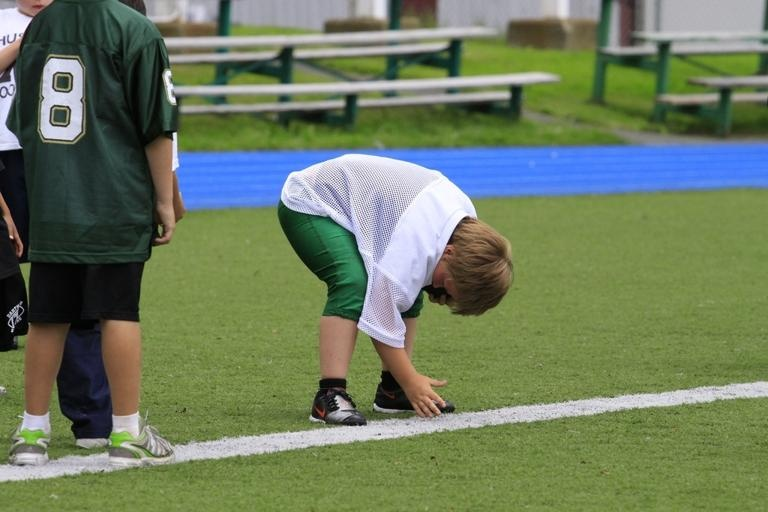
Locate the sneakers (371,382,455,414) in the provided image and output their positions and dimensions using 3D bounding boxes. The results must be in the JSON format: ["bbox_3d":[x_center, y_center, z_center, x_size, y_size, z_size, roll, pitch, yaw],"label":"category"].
[{"bbox_3d":[0.123,0.582,5.865,0.352,0.131,0.123,1,-1,0],"label":"sneakers"}]

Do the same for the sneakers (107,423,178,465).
[{"bbox_3d":[-0.919,0.720,5.411,0.270,0.126,0.118,0,1,-32],"label":"sneakers"}]

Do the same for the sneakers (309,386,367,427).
[{"bbox_3d":[-0.189,0.602,5.704,0.115,0.104,0.246,0,-1,-44],"label":"sneakers"}]

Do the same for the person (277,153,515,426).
[{"bbox_3d":[0.017,0.139,5.724,0.975,1.048,0.403,4,12,6],"label":"person"}]

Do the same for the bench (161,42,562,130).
[{"bbox_3d":[-0.083,-0.988,8.553,2.553,0.480,0.718,10,14,31],"label":"bench"}]
